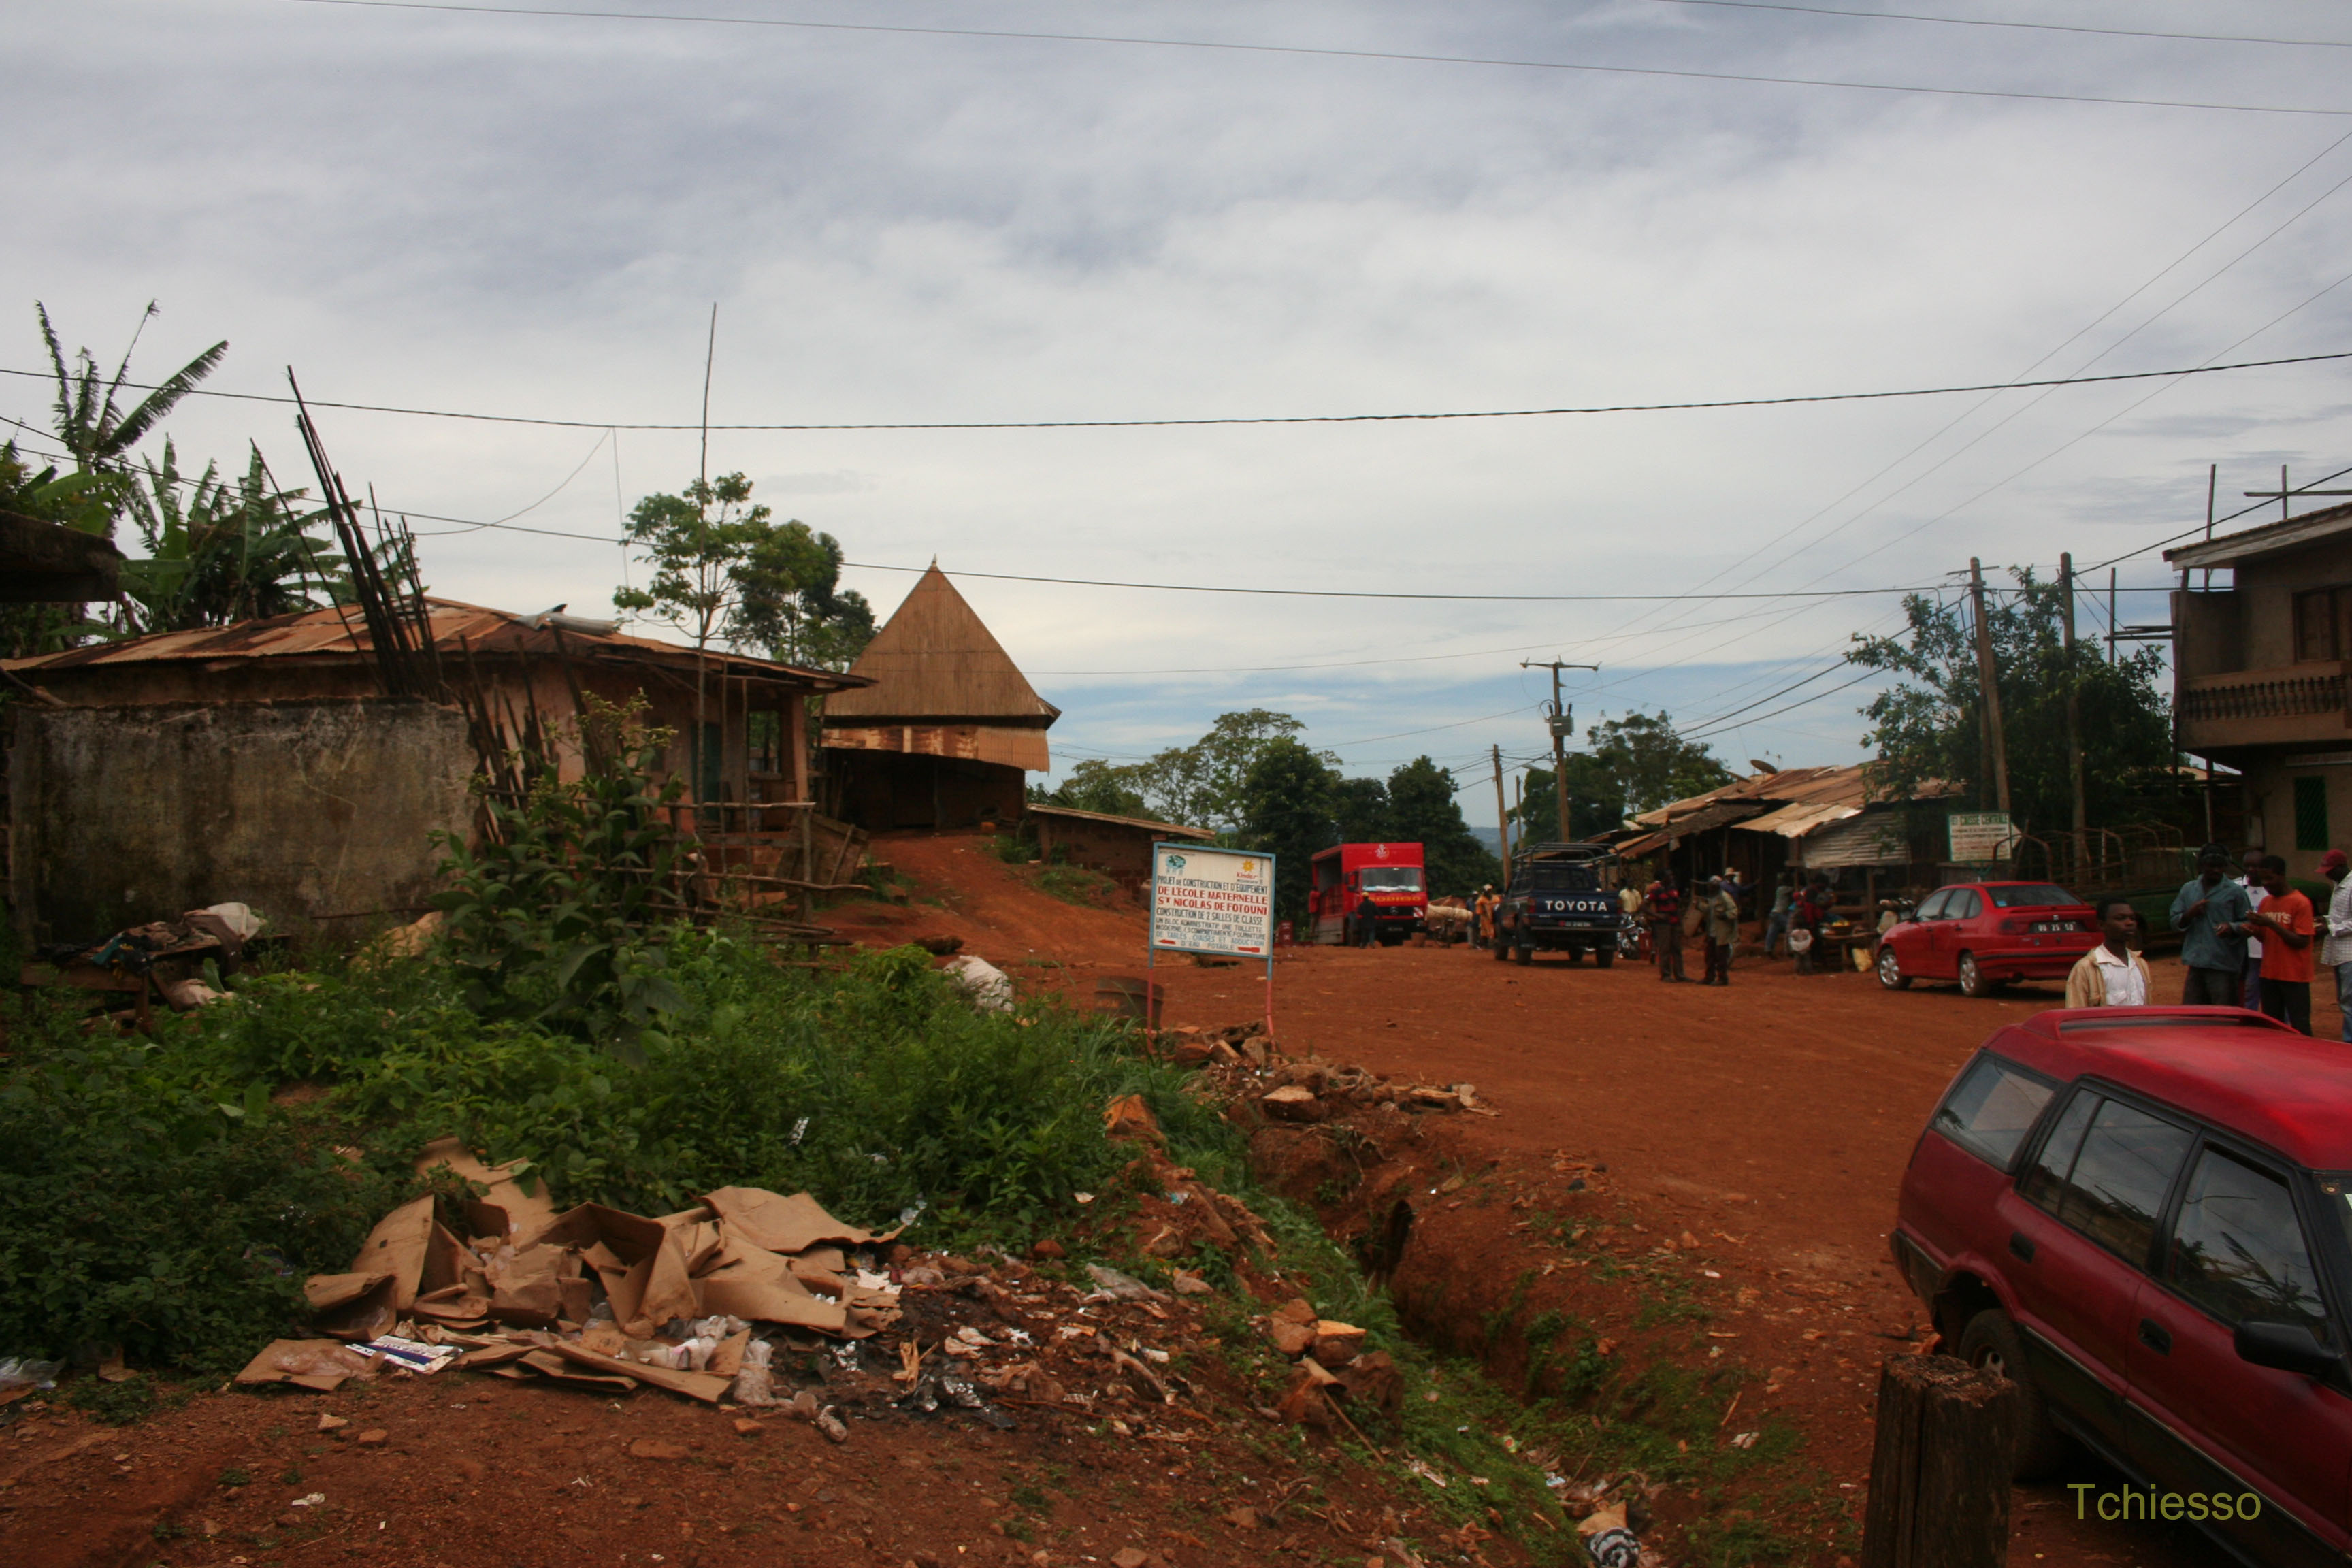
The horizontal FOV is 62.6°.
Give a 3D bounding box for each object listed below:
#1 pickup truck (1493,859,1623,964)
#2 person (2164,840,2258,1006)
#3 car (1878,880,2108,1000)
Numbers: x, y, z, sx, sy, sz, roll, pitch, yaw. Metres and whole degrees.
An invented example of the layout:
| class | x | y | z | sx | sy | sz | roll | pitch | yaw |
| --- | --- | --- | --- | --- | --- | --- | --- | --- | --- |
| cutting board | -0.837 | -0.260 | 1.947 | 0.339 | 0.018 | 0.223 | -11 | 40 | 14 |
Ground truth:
| class | x | y | z | sx | sy | sz | roll | pitch | yaw |
| --- | --- | --- | --- | --- | --- | --- | --- | --- | --- |
| pickup truck | 7.330 | 2.436 | 37.565 | 2.035 | 1.627 | 3.747 | 0 | -1 | -2 |
| person | 9.337 | 1.310 | 17.527 | 0.639 | 1.430 | 1.233 | -1 | 1 | 29 |
| car | 10.974 | 2.066 | 26.419 | 1.353 | 0.867 | 2.698 | 0 | 0 | -2 |
